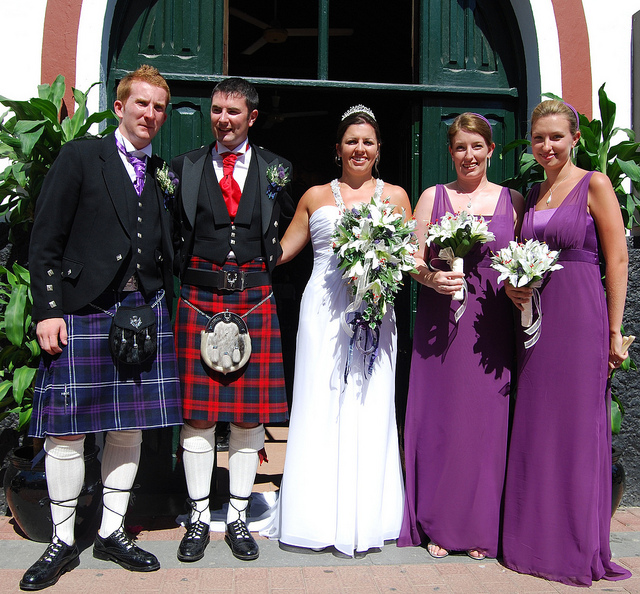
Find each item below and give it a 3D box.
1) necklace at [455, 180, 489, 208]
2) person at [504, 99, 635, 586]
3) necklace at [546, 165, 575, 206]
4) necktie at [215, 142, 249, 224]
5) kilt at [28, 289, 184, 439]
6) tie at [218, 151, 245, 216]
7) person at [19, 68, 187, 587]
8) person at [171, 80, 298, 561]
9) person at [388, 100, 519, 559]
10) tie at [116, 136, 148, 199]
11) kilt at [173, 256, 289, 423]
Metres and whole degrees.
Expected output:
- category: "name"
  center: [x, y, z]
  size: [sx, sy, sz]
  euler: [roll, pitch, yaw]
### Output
- category: "necklace"
  center: [0.747, -0.516, 3.480]
  size: [0.161, 0.145, 0.162]
  euler: [2, 3, 12]
- category: "person"
  center: [1.150, 0.185, 3.221]
  size: [0.594, 2.173, 0.376]
  euler: [2, 3, 17]
- category: "necklace"
  center: [1.122, -0.523, 3.258]
  size: [0.238, 0.088, 0.013]
  euler: [-47, 34, -12]
- category: "necktie"
  center: [-0.420, -0.543, 3.325]
  size: [0.150, 0.387, 0.135]
  euler: [1, 3, -8]
- category: "kilt"
  center: [-0.942, 0.290, 3.080]
  size: [0.596, 0.626, 0.252]
  euler: [0, -2, -18]
- category: "tie"
  center: [-0.424, -0.543, 3.313]
  size: [0.110, 0.312, 0.117]
  euler: [1, 3, -8]
- category: "person"
  center: [-0.949, 0.098, 3.142]
  size: [0.666, 2.248, 0.351]
  euler: [1, 3, -14]
- category: "person"
  center: [-0.429, 0.091, 3.334]
  size: [0.571, 2.222, 0.347]
  euler: [1, 3, -8]
- category: "person"
  center: [0.650, 0.172, 3.392]
  size: [0.600, 2.107, 0.446]
  euler: [2, 3, 17]
- category: "tie"
  center: [-0.837, -0.582, 3.142]
  size: [0.055, 0.240, 0.165]
  euler: [-10, -20, 19]
- category: "kilt"
  center: [-0.438, 0.221, 3.317]
  size: [0.558, 0.889, 0.111]
  euler: [-2, 28, -13]
